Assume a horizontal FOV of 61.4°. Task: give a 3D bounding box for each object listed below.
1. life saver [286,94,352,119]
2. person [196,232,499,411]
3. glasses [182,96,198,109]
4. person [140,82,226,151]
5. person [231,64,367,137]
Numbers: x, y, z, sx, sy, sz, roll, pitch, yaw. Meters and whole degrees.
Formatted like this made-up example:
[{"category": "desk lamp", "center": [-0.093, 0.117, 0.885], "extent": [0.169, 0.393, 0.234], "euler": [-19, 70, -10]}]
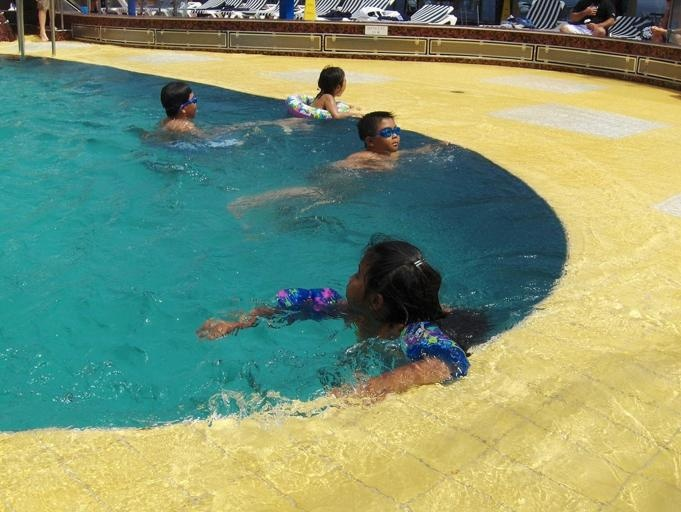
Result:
[{"category": "life saver", "center": [-0.255, -1.724, 6.665], "extent": [0.610, 0.113, 0.492], "euler": [6, 15, -9]}, {"category": "person", "center": [0.094, 0.287, 2.407], "extent": [1.188, 0.332, 0.767], "euler": [-8, 21, -29]}, {"category": "glasses", "center": [-1.522, -1.556, 5.810], "extent": [0.223, 0.057, 0.191], "euler": [-22, 20, -1]}, {"category": "person", "center": [-1.637, -1.425, 5.894], "extent": [1.302, 0.604, 0.481], "euler": [18, 34, 30]}, {"category": "person", "center": [-0.360, -1.895, 6.762], "extent": [1.692, 0.525, 0.729], "euler": [0, 40, -5]}]
